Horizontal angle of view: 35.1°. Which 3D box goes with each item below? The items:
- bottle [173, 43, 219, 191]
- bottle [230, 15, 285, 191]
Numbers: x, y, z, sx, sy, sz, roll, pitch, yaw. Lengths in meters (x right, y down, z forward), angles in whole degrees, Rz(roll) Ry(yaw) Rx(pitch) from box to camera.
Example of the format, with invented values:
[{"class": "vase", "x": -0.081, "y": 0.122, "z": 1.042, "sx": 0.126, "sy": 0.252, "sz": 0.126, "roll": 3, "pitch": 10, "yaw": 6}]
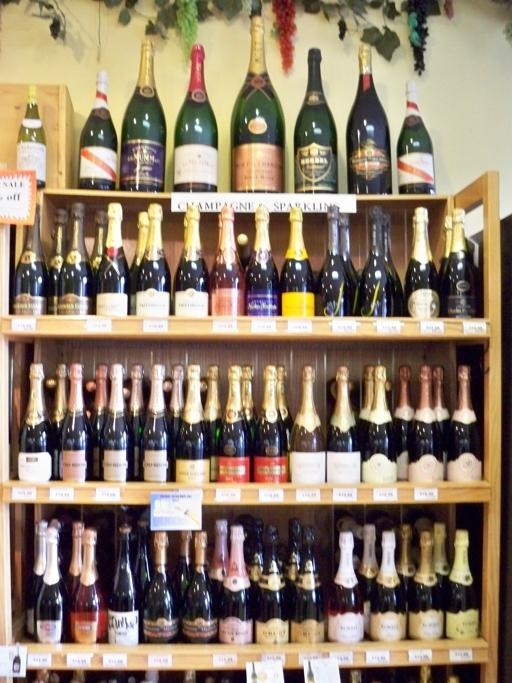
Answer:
[{"class": "bottle", "x": -0.155, "y": -0.547, "z": 2.032, "sx": 0.107, "sy": 0.400, "sz": 0.157, "roll": 0, "pitch": -4, "yaw": -6}, {"class": "bottle", "x": 0.001, "y": -0.580, "z": 2.039, "sx": 0.137, "sy": 0.473, "sz": 0.169, "roll": -1, "pitch": -4, "yaw": 2}]
